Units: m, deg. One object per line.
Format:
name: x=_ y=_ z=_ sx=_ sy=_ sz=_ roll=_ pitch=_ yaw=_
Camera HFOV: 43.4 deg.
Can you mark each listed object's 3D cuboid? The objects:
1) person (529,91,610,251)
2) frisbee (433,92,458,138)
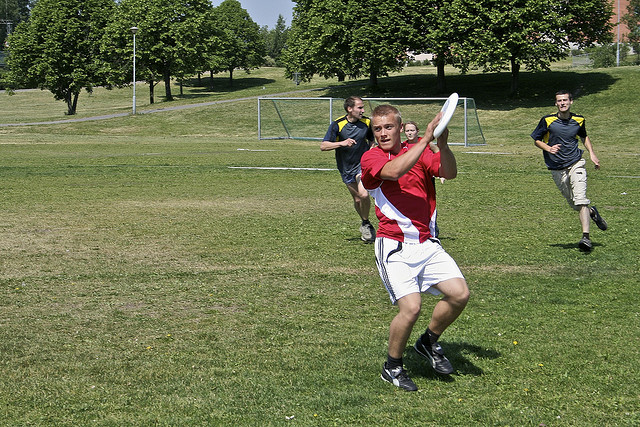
person: x=4.798 y=-0.829 z=15.384 sx=1.219 sy=2.963 sz=1.088 roll=4 pitch=12 yaw=43
frisbee: x=1.729 y=-1.327 z=10.991 sx=0.323 sy=0.582 sz=0.694 roll=-2 pitch=8 yaw=10
